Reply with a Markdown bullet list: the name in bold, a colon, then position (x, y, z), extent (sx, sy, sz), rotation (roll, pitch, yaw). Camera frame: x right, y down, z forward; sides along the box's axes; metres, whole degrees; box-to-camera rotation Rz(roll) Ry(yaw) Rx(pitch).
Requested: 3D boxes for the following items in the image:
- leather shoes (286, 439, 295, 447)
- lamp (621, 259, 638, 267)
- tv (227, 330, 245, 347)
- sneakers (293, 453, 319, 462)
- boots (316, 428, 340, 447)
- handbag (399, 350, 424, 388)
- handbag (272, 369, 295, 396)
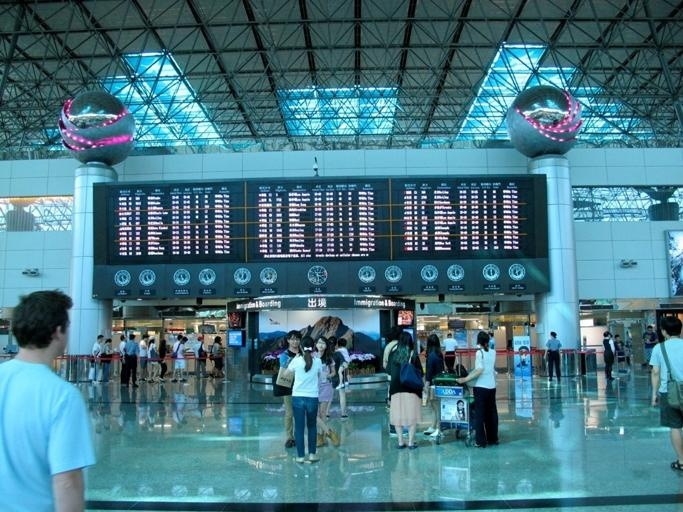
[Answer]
- **leather shoes**: position (-0.778, 2.826, 9.175), extent (0.138, 0.114, 0.187), rotation (-1, -8, -10)
- **lamp**: position (11.020, 0.319, 23.350), extent (0.383, 0.330, 0.099), rotation (7, -5, 3)
- **tv**: position (-3.359, 2.646, 19.455), extent (0.587, 0.467, 0.182), rotation (-3, -9, 27)
- **sneakers**: position (-0.472, 2.769, 8.345), extent (0.319, 0.104, 0.238), rotation (1, -8, -23)
- **boots**: position (-0.207, 2.822, 9.486), extent (0.337, 0.207, 0.567), rotation (-2, -7, -1)
- **handbag**: position (1.038, 1.745, 9.258), extent (0.479, 0.583, 0.217), rotation (24, -36, -32)
- **handbag**: position (-0.848, 1.879, 8.871), extent (0.402, 0.367, 0.095), rotation (5, 6, 22)
